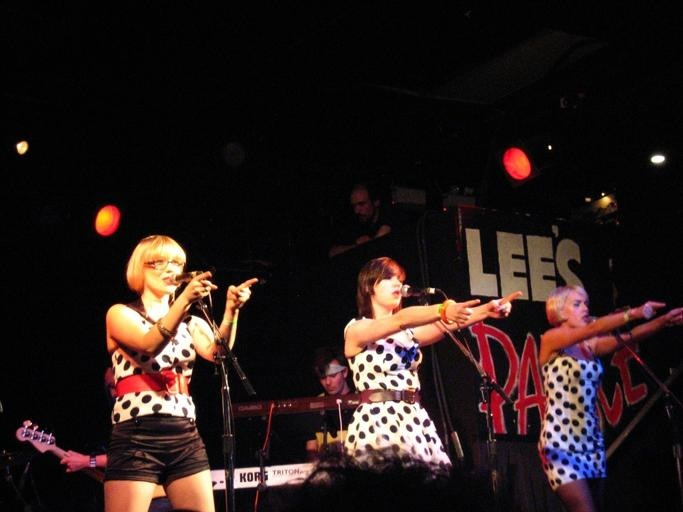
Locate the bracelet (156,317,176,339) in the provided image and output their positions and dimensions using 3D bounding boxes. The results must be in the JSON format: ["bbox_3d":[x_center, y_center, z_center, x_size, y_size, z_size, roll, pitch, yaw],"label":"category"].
[{"bbox_3d":[-1.059,0.457,3.915,0.097,0.116,0.049,7,-39,-46],"label":"bracelet"}]

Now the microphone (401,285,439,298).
[{"bbox_3d":[0.647,0.298,5.348,0.400,0.122,0.119,-5,0,28],"label":"microphone"}]

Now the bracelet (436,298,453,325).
[{"bbox_3d":[0.724,0.394,4.525,0.051,0.152,0.120,10,-13,-34],"label":"bracelet"}]

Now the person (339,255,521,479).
[{"bbox_3d":[0.561,1.144,4.648,1.160,2.261,0.998,-8,-19,24],"label":"person"}]
